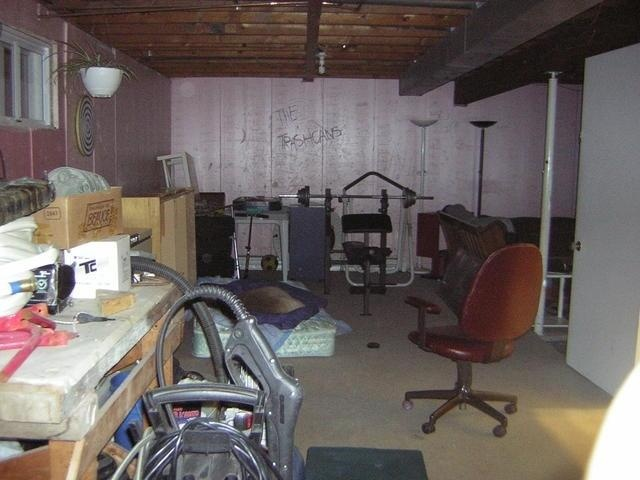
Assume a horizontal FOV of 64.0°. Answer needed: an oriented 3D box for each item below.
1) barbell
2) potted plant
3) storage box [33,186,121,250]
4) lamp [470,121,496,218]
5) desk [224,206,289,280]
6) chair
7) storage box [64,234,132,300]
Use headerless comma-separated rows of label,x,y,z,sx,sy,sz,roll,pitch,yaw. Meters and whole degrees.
barbell,0.497,-0.616,7.199,2.219,0.323,0.324,0,41,-1
potted plant,-1.946,-1.478,4.429,0.794,0.447,0.788,1,8,1
storage box,-1.106,-0.109,2.428,0.161,0.241,0.487,2,11,13
lamp,2.476,-1.097,7.829,0.369,1.460,0.504,3,12,18
desk,-0.819,-0.028,7.042,1.717,0.934,0.863,0,5,-1
chair,0.981,0.635,3.462,0.828,1.238,0.896,1,4,-1
storage box,-1.031,0.122,2.417,0.193,0.271,0.267,3,8,3
